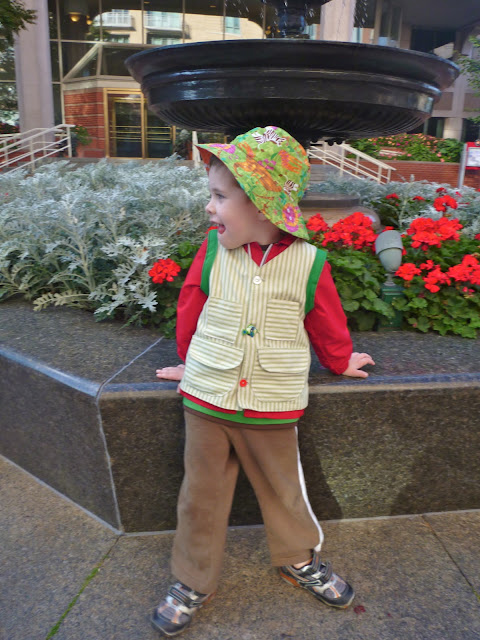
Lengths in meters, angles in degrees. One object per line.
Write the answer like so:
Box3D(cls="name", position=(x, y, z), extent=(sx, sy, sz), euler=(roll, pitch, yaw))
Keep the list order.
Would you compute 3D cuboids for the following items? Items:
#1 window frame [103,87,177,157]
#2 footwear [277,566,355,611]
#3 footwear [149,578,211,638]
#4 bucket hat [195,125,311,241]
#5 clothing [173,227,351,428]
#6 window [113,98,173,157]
Box3D(cls="window frame", position=(-3.045, -6.013, 16.189), extent=(2.424, 1.851, 0.193), euler=(-17, 35, -38))
Box3D(cls="footwear", position=(0.230, 0.735, 1.510), extent=(0.237, 0.095, 0.085), euler=(13, 25, 21))
Box3D(cls="footwear", position=(-0.160, 0.758, 1.423), extent=(0.077, 0.076, 0.193), euler=(35, 23, 13))
Box3D(cls="bucket hat", position=(0.052, -0.363, 1.360), extent=(0.268, 0.269, 0.176), euler=(2, 25, 0))
Box3D(cls="clothing", position=(0.052, 0.024, 1.430), extent=(0.513, 0.489, 0.332), euler=(6, 25, 10))
Box3D(cls="window", position=(-3.004, -5.911, 15.998), extent=(2.390, 1.806, 0.251), euler=(8, 20, 16))
